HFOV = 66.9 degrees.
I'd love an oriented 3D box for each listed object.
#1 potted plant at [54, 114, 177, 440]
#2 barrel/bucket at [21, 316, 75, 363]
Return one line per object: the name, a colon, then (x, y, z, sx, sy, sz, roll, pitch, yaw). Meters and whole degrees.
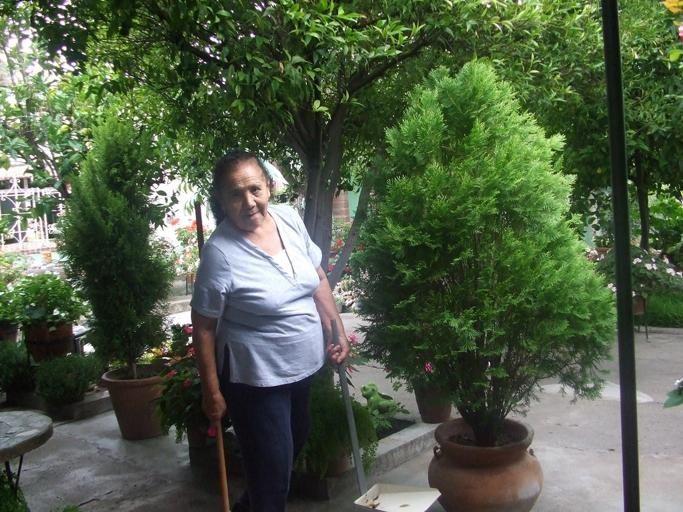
potted plant: (-2.045, 0.224, 4.781, 0.889, 2.947, 0.530, -3, -2, 1)
barrel/bucket: (-3.235, 0.920, 5.795, 0.453, 0.464, 0.503, -7, -6, 36)
